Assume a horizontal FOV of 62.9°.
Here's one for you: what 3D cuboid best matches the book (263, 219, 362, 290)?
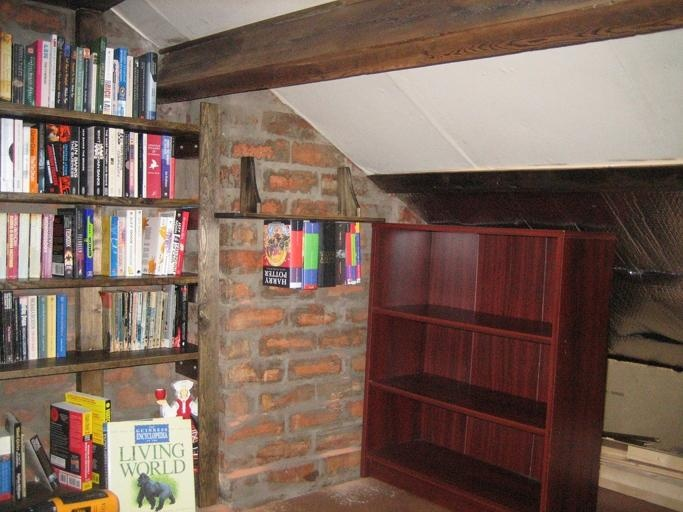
[{"bbox_3d":[-0.135,-0.011,2.963,0.541,0.348,0.156,-2,3,-37],"label":"book"}]

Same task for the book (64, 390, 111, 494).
[{"bbox_3d":[-1.055,0.793,2.325,0.052,0.468,0.402,-3,5,-44],"label":"book"}]

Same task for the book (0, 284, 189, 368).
[{"bbox_3d":[-1.132,0.294,2.647,0.846,0.315,0.317,-1,2,-31],"label":"book"}]

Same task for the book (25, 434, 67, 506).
[{"bbox_3d":[-1.242,0.856,2.334,0.164,0.247,0.077,1,2,17],"label":"book"}]
